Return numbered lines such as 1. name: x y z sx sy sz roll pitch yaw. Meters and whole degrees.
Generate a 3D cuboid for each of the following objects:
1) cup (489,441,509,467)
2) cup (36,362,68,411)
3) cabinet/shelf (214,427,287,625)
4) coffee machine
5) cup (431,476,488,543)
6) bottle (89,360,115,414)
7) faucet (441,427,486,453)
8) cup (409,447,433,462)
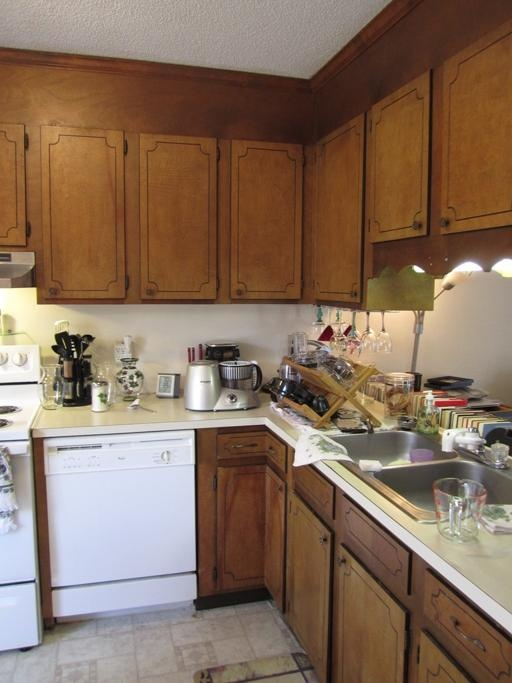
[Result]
1. cup: 0.708 0.332 1.643 0.051 0.060 0.063 0 -3 37
2. cup: -0.920 0.204 2.554 0.102 0.195 0.080 -3 6 -32
3. cabinet/shelf: -0.025 0.772 2.373 0.272 0.771 0.341 0 5 -4
4. coffee machine: -0.164 0.166 2.697 0.371 0.278 0.258 1 -1 -24
5. cup: 0.452 0.370 1.257 0.108 0.105 0.131 0 2 3
6. bottle: -0.741 0.210 2.585 0.138 0.232 0.227 0 4 -20
7. faucet: 0.648 0.303 1.766 0.129 0.065 0.067 0 0 23
8. cup: 0.546 0.371 1.881 0.053 0.038 0.048 -1 1 28
